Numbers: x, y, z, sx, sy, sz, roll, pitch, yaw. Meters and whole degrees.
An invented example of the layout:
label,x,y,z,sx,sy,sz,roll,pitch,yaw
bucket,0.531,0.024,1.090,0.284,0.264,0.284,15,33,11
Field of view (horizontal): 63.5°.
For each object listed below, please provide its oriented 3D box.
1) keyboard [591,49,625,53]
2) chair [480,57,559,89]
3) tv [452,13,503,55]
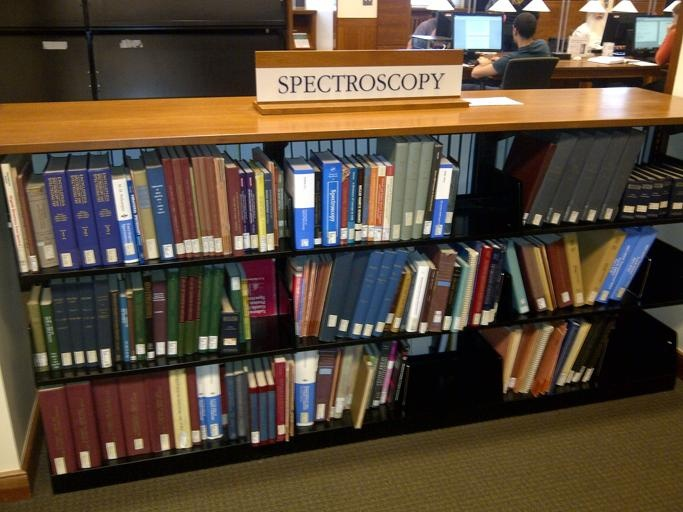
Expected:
label,x,y,z,sx,sy,sz,roll,pitch,yaw
keyboard,3.585,-2.758,7.373,0.256,0.042,0.197,0,17,1
chair,1.658,-1.605,4.828,0.622,0.278,0.254,-8,15,-23
tv,1.698,-2.745,6.750,0.137,0.459,0.783,-32,37,-27
